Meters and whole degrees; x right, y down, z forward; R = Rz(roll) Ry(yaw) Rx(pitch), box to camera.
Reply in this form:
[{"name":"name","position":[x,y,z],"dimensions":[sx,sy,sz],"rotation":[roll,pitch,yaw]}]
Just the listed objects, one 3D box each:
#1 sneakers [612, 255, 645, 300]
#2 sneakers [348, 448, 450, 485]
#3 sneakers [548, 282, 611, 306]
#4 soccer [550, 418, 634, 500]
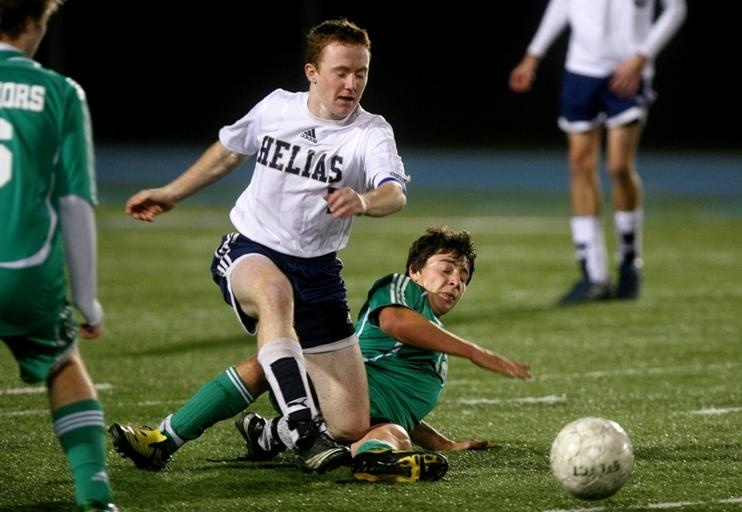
[{"name":"sneakers","position":[1.853,0.157,7.347],"dimensions":[0.186,0.295,0.113],"rotation":[2,13,-2]},{"name":"sneakers","position":[0.141,1.103,5.383],"dimensions":[0.545,0.221,0.175],"rotation":[-3,-27,0]},{"name":"sneakers","position":[1.569,0.275,7.463],"dimensions":[0.265,0.118,0.170],"rotation":[-19,10,-3]},{"name":"soccer","position":[1.071,0.947,5.174],"dimensions":[0.453,0.393,0.400],"rotation":[2,4,-23]}]
